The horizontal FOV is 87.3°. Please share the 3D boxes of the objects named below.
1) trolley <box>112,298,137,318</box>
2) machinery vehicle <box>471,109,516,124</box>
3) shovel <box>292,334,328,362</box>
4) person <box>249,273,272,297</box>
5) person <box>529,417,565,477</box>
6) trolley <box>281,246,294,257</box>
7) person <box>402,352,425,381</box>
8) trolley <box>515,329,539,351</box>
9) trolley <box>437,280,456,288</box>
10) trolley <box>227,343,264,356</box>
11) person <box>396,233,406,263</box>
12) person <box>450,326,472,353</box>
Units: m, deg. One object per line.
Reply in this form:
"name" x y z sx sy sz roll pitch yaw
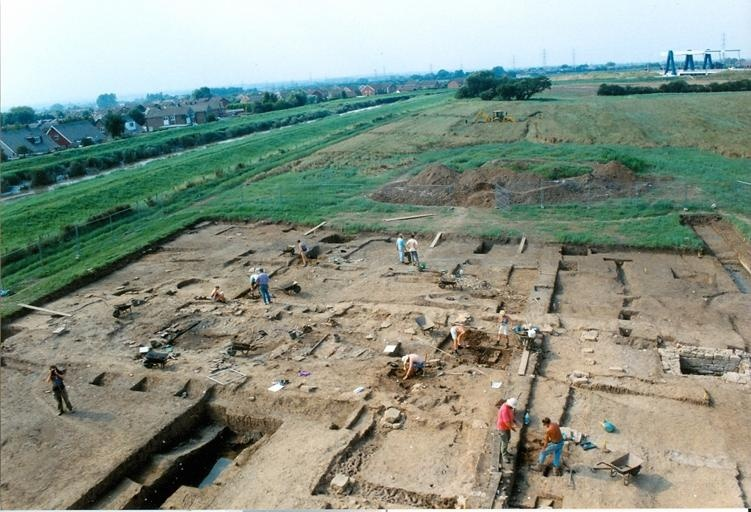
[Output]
"trolley" -9.803 2.078 15.354 1.046 0.502 0.329 -19 51 35
"machinery vehicle" 14.044 -16.717 48.746 4.014 0.934 4.285 -1 8 -1
"shovel" -2.052 2.906 12.807 0.405 0.098 1.129 12 27 35
"person" -5.037 1.095 16.513 1.095 0.349 1.373 2 25 -6
"person" 3.631 3.881 8.362 0.509 1.591 0.786 2 34 26
"trolley" -4.564 -0.219 20.452 0.619 0.248 0.654 2 14 6
"person" 1.033 3.100 11.373 0.953 0.408 0.763 -10 13 2
"trolley" 4.627 2.544 12.196 0.610 0.417 1.097 1 24 20
"trolley" 2.809 1.122 15.872 0.637 0.232 0.338 -2 26 11
"trolley" -4.407 3.012 13.000 1.049 0.333 0.569 -11 24 -9
"person" 1.121 -0.339 18.233 0.432 1.375 0.650 -13 30 4
"person" 2.542 2.548 12.233 0.781 0.837 0.255 6 57 -1
